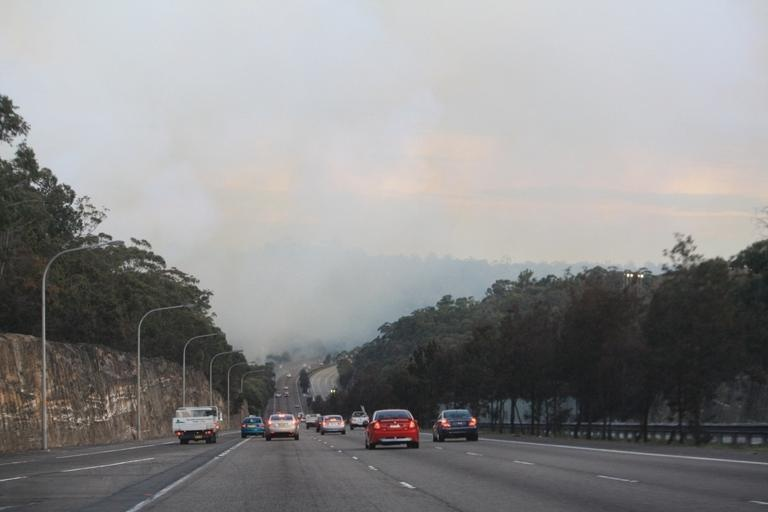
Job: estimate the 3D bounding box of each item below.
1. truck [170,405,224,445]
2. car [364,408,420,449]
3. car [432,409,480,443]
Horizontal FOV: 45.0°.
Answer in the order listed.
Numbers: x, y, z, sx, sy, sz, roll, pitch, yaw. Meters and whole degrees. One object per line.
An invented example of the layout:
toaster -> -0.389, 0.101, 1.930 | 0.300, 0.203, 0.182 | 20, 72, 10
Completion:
truck -> -14.019, 12.736, 69.979 | 2.484, 2.064, 4.064 | 0, -1, -3
car -> 0.569, 10.270, 55.287 | 2.991, 2.432, 1.886 | -3, -15, 5
car -> 4.860, 11.080, 61.834 | 2.634, 2.180, 2.473 | 1, -16, -8
